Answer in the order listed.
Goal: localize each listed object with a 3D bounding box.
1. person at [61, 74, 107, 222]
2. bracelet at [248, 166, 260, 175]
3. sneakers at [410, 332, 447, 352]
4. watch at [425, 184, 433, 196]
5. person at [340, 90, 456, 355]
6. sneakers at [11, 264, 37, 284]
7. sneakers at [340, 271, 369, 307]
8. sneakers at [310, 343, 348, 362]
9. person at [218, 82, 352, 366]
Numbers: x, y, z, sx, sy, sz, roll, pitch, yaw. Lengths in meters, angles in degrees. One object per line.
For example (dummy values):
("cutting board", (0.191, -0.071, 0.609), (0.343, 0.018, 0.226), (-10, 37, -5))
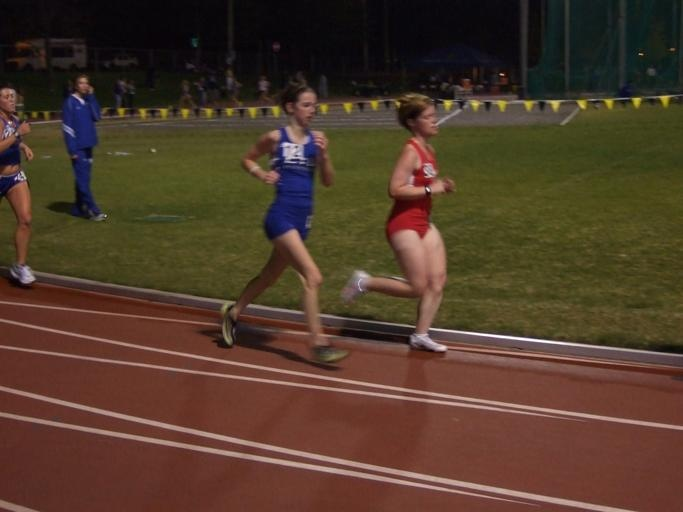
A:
("person", (-3.855, -1.569, 11.386), (0.554, 2.035, 0.630), (-6, 16, -12))
("bracelet", (-0.690, -0.681, 5.937), (0.079, 0.050, 0.074), (1, 6, 16))
("sneakers", (0.695, 0.734, 6.358), (0.373, 0.138, 0.121), (-1, 6, 13))
("watch", (0.680, -0.537, 6.033), (0.061, 0.074, 0.087), (4, -3, 1))
("person", (0.509, -0.250, 6.268), (0.792, 2.139, 0.500), (-3, 15, 0))
("sneakers", (-3.434, 0.186, 8.212), (0.378, 0.150, 0.148), (10, 17, 32))
("sneakers", (0.109, 0.283, 6.649), (0.189, 0.330, 0.133), (55, 14, 25))
("sneakers", (-0.103, 0.747, 5.875), (0.278, 0.103, 0.131), (-1, 11, 4))
("person", (-0.554, -0.238, 6.037), (1.024, 2.242, 1.015), (-4, 15, -2))
